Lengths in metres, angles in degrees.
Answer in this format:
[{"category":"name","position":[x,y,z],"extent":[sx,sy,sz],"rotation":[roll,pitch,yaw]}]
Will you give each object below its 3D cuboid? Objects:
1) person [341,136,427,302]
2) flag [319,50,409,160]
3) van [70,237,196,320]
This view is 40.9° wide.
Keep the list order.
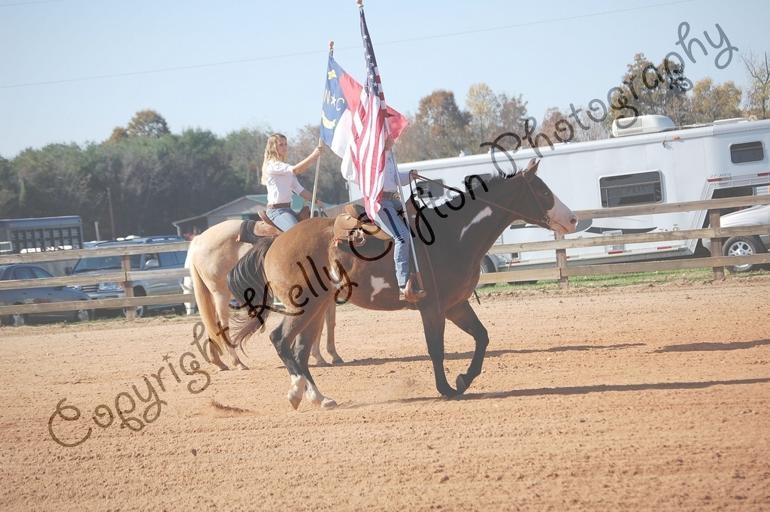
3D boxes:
[{"category":"person","position":[0.178,-0.611,19.001],"extent":[0.697,2.912,0.768],"rotation":[-6,4,-31]},{"category":"flag","position":[-0.372,-2.917,19.929],"extent":[1.750,2.279,0.157],"rotation":[8,-20,-15]},{"category":"van","position":[-7.180,0.733,29.752],"extent":[2.096,2.534,4.213],"rotation":[-9,-3,23]}]
